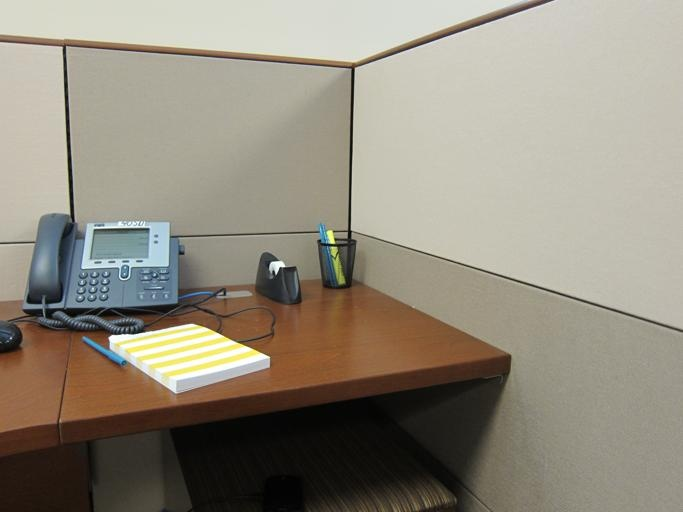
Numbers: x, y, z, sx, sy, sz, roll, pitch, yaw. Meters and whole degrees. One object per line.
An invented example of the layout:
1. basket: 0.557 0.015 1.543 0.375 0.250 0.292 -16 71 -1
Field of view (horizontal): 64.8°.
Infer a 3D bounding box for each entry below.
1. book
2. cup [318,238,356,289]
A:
1. book: -0.316 0.194 1.071 0.143 0.024 0.206 -6 14 -41
2. cup: -0.014 0.020 1.573 0.124 0.148 0.132 -1 1 0
